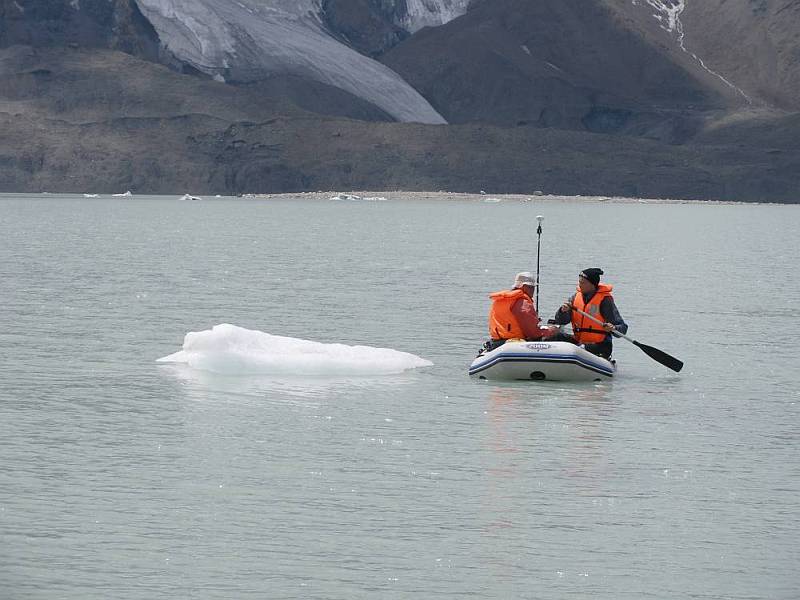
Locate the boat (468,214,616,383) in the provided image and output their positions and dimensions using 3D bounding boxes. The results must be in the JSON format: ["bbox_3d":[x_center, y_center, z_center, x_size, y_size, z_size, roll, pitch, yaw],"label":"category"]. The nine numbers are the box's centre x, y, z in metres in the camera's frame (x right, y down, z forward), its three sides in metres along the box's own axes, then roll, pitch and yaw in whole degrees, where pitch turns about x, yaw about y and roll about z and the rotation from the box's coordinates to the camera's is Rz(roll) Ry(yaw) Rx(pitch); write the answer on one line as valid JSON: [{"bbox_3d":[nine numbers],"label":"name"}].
[{"bbox_3d":[4.506,-0.053,54.551,4.535,4.451,4.534,1,8,6],"label":"boat"}]

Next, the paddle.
[{"bbox_3d":[7.417,1.132,55.333,4.953,0.478,0.203,31,26,34],"label":"paddle"}]
